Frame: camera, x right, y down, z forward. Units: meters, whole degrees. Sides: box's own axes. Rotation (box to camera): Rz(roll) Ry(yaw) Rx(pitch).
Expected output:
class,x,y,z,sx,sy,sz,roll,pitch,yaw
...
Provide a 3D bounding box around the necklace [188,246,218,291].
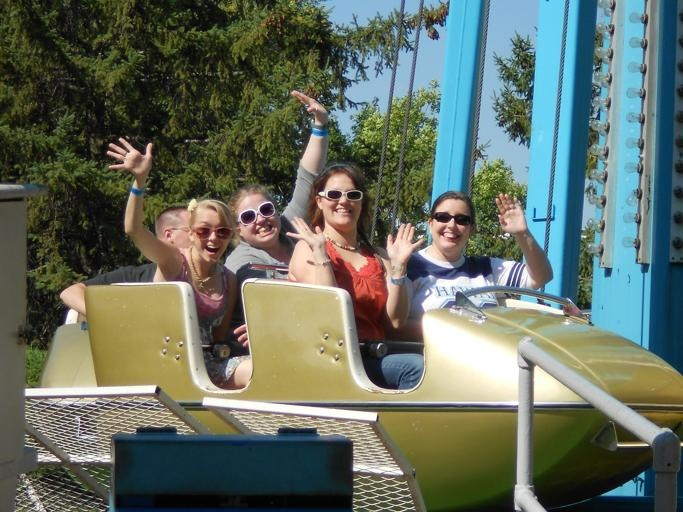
class,x,y,z,sx,sy,sz,roll,pitch,yaw
necklace,-0.802,0.068,5.650,0.128,0.258,0.060,-2,-15,-15

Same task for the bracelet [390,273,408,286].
class,x,y,z,sx,sy,sz,roll,pitch,yaw
bracelet,0.298,0.129,5.451,0.094,0.059,0.058,3,3,28

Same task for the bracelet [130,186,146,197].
class,x,y,z,sx,sy,sz,roll,pitch,yaw
bracelet,-1.157,-0.372,5.615,0.057,0.042,0.062,22,29,21

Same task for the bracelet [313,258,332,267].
class,x,y,z,sx,sy,sz,roll,pitch,yaw
bracelet,-0.103,0.032,5.340,0.087,0.038,0.071,1,3,-12

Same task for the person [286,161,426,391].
class,x,y,z,sx,sy,sz,roll,pitch,yaw
person,0.107,0.074,5.501,0.840,1.159,0.773,2,3,19

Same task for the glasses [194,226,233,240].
class,x,y,z,sx,sy,sz,roll,pitch,yaw
glasses,-0.729,-0.125,5.594,0.214,0.065,0.053,1,3,-15

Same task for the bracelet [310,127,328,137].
class,x,y,z,sx,sy,sz,roll,pitch,yaw
bracelet,-0.170,-0.852,6.930,0.069,0.062,0.074,6,4,32

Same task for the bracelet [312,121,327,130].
class,x,y,z,sx,sy,sz,roll,pitch,yaw
bracelet,-0.148,-0.900,6.929,0.116,0.039,0.129,8,1,-18
